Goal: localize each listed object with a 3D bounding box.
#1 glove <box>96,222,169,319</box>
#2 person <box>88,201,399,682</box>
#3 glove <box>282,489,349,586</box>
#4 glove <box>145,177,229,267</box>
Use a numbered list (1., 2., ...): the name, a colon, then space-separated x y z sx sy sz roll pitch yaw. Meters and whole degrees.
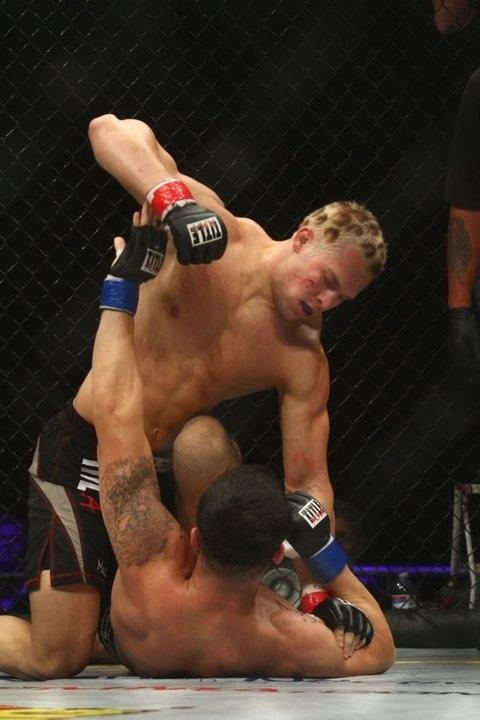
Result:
1. glove: -0.228 -0.214 1.726 0.106 0.153 0.208 22 67 18
2. person: 0.016 0.367 1.639 0.583 0.706 0.585 -5 45 8
3. glove: 0.181 0.419 1.761 0.100 0.245 0.166 -34 28 24
4. glove: -0.147 -0.305 1.661 0.139 0.090 0.213 -10 57 -41
